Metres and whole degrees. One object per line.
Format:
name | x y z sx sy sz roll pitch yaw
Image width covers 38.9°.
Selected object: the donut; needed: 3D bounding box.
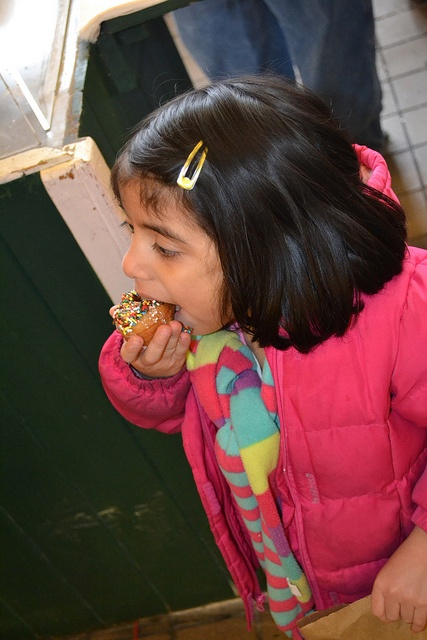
donut | -0.153 -0.002 1.229 0.112 0.108 0.049 2 0 17
